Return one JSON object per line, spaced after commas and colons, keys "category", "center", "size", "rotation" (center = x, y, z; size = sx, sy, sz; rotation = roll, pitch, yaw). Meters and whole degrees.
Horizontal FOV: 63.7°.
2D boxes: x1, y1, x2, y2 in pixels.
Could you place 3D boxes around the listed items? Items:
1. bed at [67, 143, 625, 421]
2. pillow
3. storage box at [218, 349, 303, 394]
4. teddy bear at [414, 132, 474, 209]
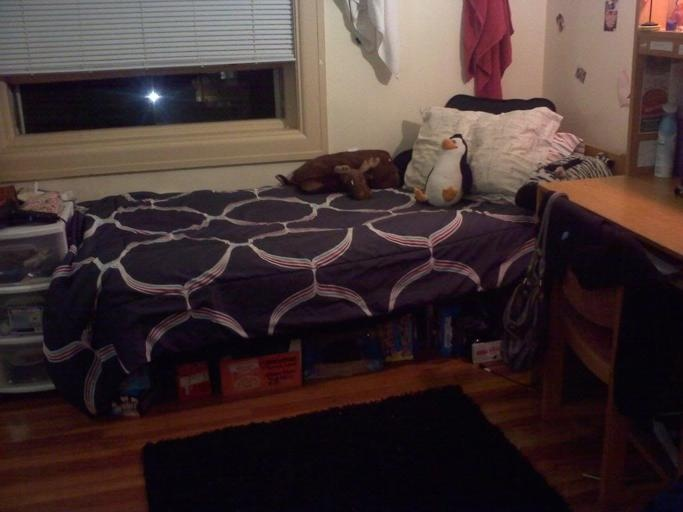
{"category": "bed", "center": [-0.066, 0.056, 2.491], "size": [2.035, 0.577, 1.255], "rotation": [-12, 42, -11]}
{"category": "pillow", "center": [0.751, -0.606, 2.890], "size": [0.642, 0.199, 0.636], "rotation": [12, 56, 22]}
{"category": "storage box", "center": [-0.370, 0.601, 2.632], "size": [0.379, 0.206, 0.181], "rotation": [-7, 57, -5]}
{"category": "teddy bear", "center": [0.535, -0.440, 2.818], "size": [0.228, 0.404, 0.262], "rotation": [-1, 10, -36]}
